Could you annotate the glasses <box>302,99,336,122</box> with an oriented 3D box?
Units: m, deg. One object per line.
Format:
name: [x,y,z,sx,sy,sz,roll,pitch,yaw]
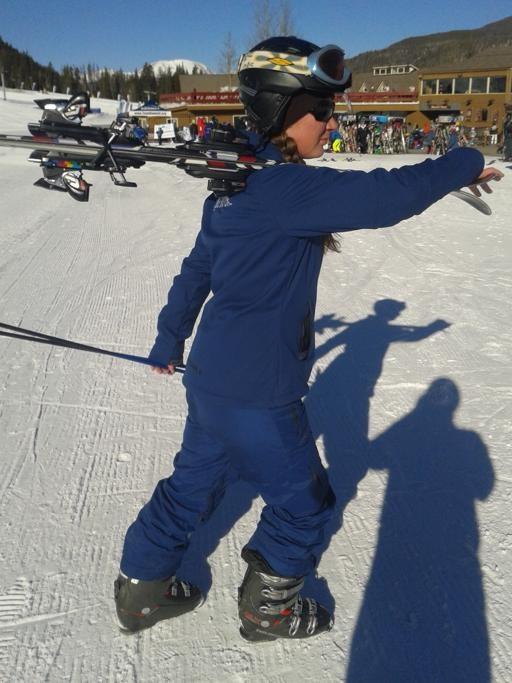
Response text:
glasses: [0.189,-0.665,1.534,0.074,0.027,0.071,-12,38,-31]

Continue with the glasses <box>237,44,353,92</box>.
glasses: [0.105,-0.794,1.527,0.339,0.160,0.224,3,20,2]
